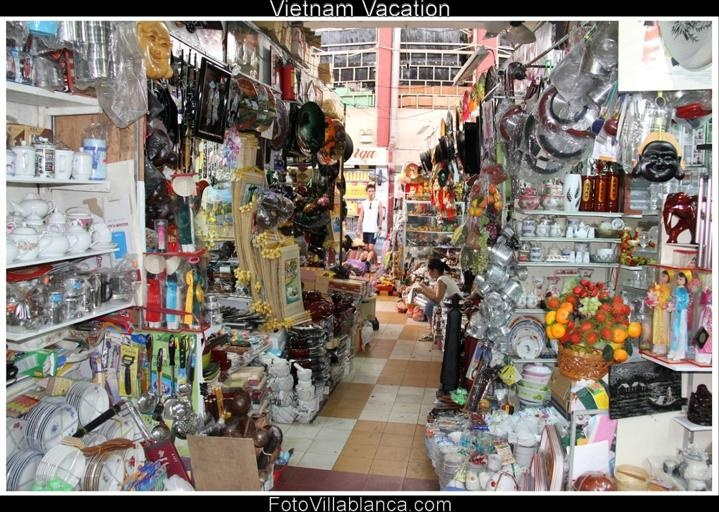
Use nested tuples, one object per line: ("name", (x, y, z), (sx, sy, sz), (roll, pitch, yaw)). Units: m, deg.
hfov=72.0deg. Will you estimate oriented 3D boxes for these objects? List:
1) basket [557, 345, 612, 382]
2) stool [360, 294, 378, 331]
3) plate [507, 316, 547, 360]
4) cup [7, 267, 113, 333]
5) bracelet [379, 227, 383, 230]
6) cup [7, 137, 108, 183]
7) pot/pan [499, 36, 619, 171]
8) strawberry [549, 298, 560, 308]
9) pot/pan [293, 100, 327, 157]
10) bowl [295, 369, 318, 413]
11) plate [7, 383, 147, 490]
("basket", (1.214, 0.566, 2.646), (0.207, 0.120, 0.182), (2, 3, -19))
("stool", (0.129, 0.872, 7.704), (0.353, 0.647, 0.649), (0, 0, 5))
("plate", (1.367, 0.667, 4.017), (0.324, 0.329, 0.108), (-6, 0, 1))
("cup", (-1.419, 0.199, 2.403), (0.127, 0.242, 0.538), (-4, -1, 32))
("bracelet", (0.549, -0.727, 12.758), (0.078, 0.084, 0.087), (-2, 2, 2))
("cup", (-1.484, -0.501, 2.546), (0.157, 0.187, 0.514), (4, 7, 21))
("pot/pan", (1.307, -0.937, 3.170), (0.484, 0.674, 0.257), (3, 24, 29))
("strawberry", (1.093, 0.249, 2.766), (0.053, 0.035, 0.053), (-11, 42, 10))
("pot/pan", (-0.559, -1.454, 5.636), (0.227, 0.560, 0.530), (5, 8, 21))
("bowl", (-0.491, 1.268, 4.820), (0.187, 0.457, 0.285), (6, 9, 28))
("plate", (-1.393, 0.910, 2.416), (0.553, 0.384, 0.571), (7, 9, 33))
